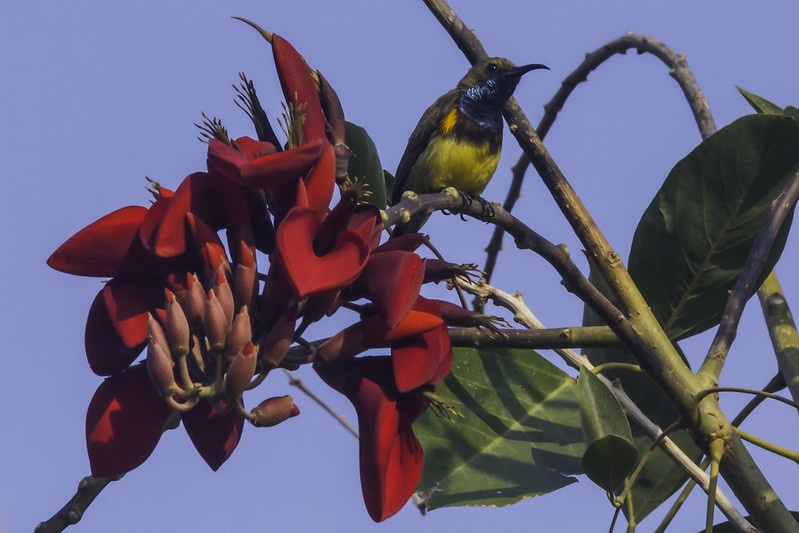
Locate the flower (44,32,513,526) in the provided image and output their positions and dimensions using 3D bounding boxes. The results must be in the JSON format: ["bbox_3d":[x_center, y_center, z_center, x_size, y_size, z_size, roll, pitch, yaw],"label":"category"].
[{"bbox_3d":[-0.253,0.052,3.366,1.113,1.067,0.841,0,-6,27],"label":"flower"}]

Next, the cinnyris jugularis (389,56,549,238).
[{"bbox_3d":[0.223,-0.482,5.285,0.696,0.626,0.320,-11,-22,40],"label":"cinnyris jugularis"}]
